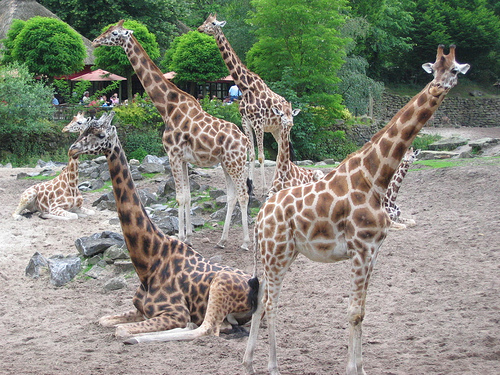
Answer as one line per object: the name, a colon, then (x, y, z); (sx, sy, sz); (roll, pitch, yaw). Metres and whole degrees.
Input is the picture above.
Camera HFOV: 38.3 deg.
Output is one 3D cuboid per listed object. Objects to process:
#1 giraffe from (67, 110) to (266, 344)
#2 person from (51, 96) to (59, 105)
giraffe: (-1.803, 0.834, 15.041); (3.365, 4.479, 1.464); (0, 16, -1)
person: (-10.105, -4.549, 37.241); (0.258, 0.526, 1.268); (-4, 19, -17)
